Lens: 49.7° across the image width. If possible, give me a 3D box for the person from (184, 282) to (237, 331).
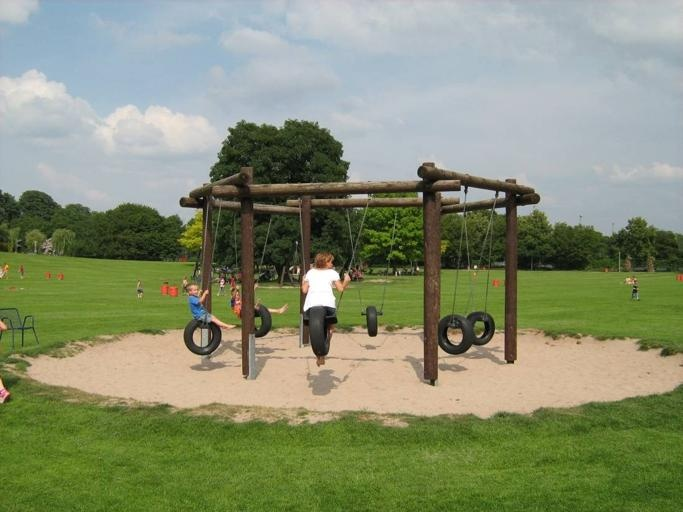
[{"bbox_3d":[-3.076,1.082,16.496,0.657,1.196,1.228,0,9,2],"label":"person"}]
